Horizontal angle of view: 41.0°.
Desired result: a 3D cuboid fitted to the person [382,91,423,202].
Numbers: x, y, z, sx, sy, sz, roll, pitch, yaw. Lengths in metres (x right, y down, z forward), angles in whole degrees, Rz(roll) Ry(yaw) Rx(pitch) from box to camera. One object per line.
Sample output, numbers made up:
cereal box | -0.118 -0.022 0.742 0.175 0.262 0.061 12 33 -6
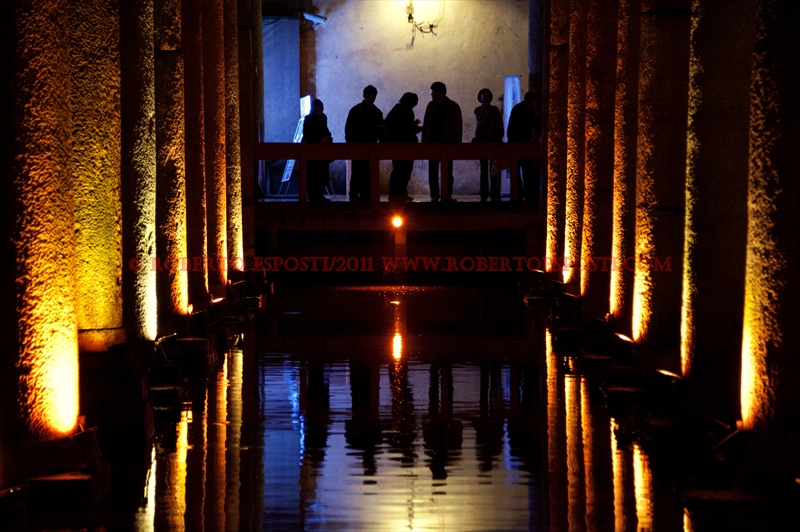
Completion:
person | 0.034 -1.883 16.507 0.583 1.615 1.329 -1 7 -1
